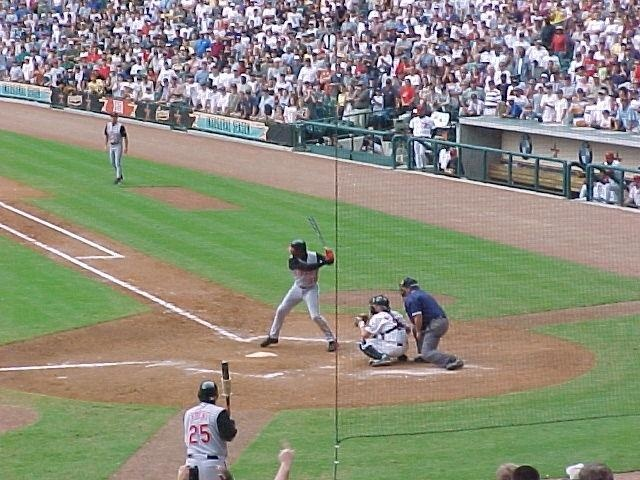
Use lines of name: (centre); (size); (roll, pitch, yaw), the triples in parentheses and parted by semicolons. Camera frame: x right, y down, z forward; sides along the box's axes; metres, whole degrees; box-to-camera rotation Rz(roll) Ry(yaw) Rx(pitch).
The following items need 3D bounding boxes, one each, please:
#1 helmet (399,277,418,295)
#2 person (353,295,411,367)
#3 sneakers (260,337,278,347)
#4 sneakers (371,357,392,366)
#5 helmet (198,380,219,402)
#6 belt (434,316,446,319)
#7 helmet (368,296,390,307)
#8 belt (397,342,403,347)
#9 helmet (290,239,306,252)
helmet: (1.864, 0.950, 34.465); (0.449, 0.316, 0.342); (10, 12, 30)
person: (1.316, 1.915, 34.717); (1.331, 1.380, 1.205); (-7, 5, -39)
sneakers: (-1.053, 2.201, 35.425); (0.527, 0.139, 0.210); (-9, -28, 15)
sneakers: (1.286, 2.553, 34.396); (0.478, 0.143, 0.184); (-1, 32, 8)
helmet: (-2.088, 2.733, 29.826); (0.370, 0.357, 0.393); (3, 22, -5)
belt: (2.513, 1.598, 33.988); (0.229, 0.079, 0.065); (1, 2, -25)
helmet: (1.238, 1.293, 34.584); (0.375, 0.151, 0.243); (8, 4, 9)
belt: (1.660, 2.182, 34.293); (0.108, 0.051, 0.094); (1, -2, 5)
helmet: (-0.482, 0.113, 34.956); (0.332, 0.205, 0.214); (-16, 20, -4)
